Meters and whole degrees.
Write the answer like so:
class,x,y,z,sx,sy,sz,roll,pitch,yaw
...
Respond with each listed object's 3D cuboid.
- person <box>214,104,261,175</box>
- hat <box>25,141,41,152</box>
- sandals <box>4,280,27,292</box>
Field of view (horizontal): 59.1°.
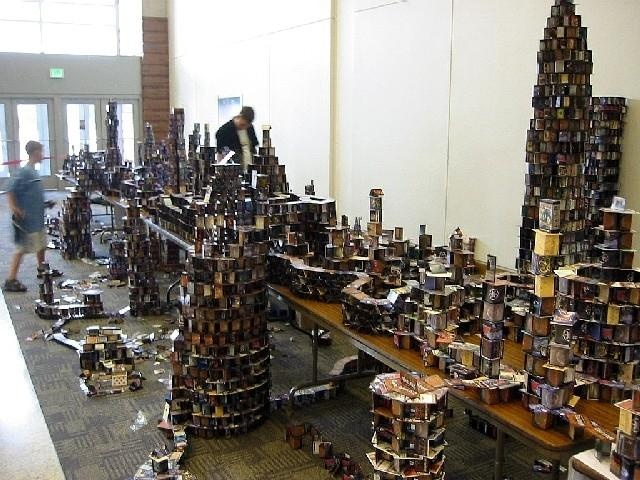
class,x,y,z,sx,sy,sz,roll,pitch,yaw
person,-1.145,-1.172,8.334,0.487,1.461,0.443,-6,-12,-6
hat,-3.216,-1.054,6.379,0.118,0.153,0.149,18,23,36
sandals,-3.970,0.595,7.390,0.263,0.168,0.143,-1,7,-12
